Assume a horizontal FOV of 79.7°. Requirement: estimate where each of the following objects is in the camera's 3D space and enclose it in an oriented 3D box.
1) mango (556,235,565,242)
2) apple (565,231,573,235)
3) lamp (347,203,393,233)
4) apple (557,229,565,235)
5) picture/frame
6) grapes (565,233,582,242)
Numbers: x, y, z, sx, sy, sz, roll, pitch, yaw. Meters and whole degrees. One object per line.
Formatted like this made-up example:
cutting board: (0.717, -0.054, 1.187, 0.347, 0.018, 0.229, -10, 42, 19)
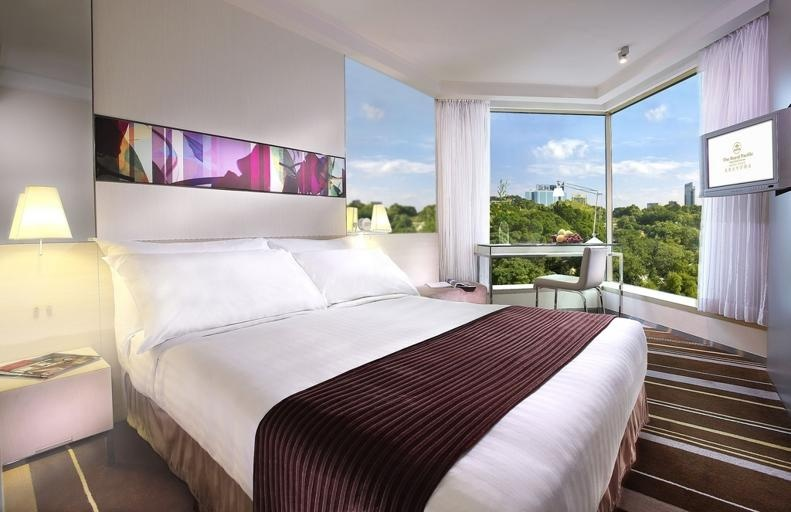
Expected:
mango: (2.104, -0.215, 6.036, 0.074, 0.088, 0.075, 8, 10, 26)
apple: (2.241, -0.300, 6.139, 0.074, 0.054, 0.091, -8, 4, -24)
lamp: (-0.312, -0.385, 5.079, 0.468, 0.302, 0.286, -2, 5, -8)
apple: (2.136, -0.305, 6.114, 0.072, 0.047, 0.086, -5, 2, -5)
picture/frame: (-1.473, -0.827, 4.115, 1.972, 0.568, 0.097, -4, 6, -35)
grapes: (2.236, -0.216, 5.982, 0.145, 0.052, 0.147, 4, 10, 40)
